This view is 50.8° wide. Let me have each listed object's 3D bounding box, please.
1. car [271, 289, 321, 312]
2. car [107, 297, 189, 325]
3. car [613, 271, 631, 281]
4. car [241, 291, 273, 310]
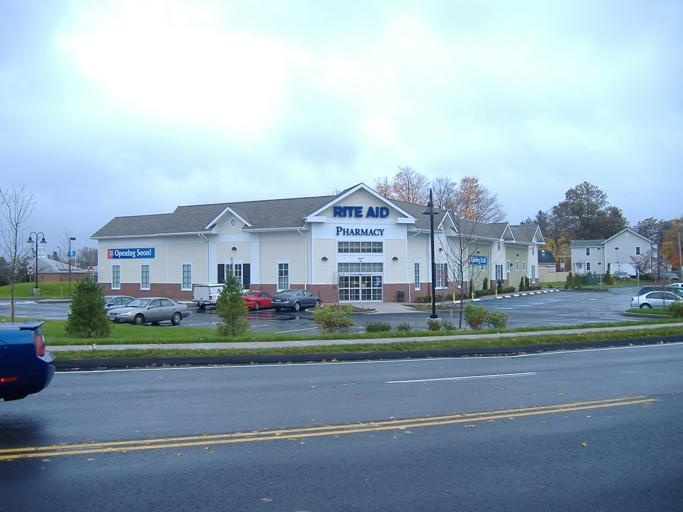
[{"bbox_3d":[-2.735,2.866,44.377,1.211,1.056,2.776,2,4,38],"label":"car"},{"bbox_3d":[-9.066,2.607,34.028,1.280,1.018,2.859,-4,-8,38],"label":"car"},{"bbox_3d":[39.658,2.874,101.666,1.783,0.975,1.181,-1,0,9],"label":"car"},{"bbox_3d":[-5.022,2.725,44.435,1.151,0.885,2.734,-2,-6,15],"label":"car"}]
